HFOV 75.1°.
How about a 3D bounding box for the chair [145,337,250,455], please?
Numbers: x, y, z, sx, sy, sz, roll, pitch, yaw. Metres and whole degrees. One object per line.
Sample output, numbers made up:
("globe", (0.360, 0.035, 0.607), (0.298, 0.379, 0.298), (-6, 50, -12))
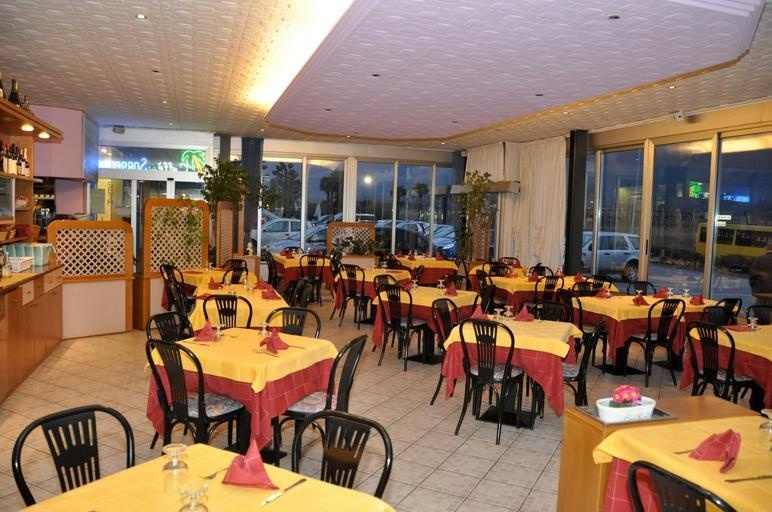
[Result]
("chair", (-1.602, 1.219, 4.365), (0.655, 1.112, 0.691), (5, 7, 37))

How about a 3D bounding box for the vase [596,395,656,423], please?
("vase", (1.614, 1.042, 3.464), (0.339, 0.086, 0.173), (0, -6, -5))

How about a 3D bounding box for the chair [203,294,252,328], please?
("chair", (-1.904, 0.662, 6.062), (0.389, 0.554, 0.374), (1, 19, -4))

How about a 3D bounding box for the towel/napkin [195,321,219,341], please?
("towel/napkin", (-1.688, 0.709, 4.774), (0.178, 0.065, 0.218), (2, 7, -14))

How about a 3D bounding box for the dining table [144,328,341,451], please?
("dining table", (-1.211, 1.010, 4.351), (1.302, 0.647, 1.312), (3, 4, 30))

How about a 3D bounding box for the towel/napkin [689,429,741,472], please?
("towel/napkin", (1.970, 1.136, 2.982), (0.249, 0.079, 0.241), (-4, -7, -44))

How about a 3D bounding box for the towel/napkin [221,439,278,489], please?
("towel/napkin", (-0.731, 1.135, 2.795), (0.320, 0.183, 0.196), (7, -4, 21))

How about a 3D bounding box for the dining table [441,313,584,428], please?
("dining table", (1.164, 1.172, 5.602), (1.692, 0.660, 1.465), (6, -9, 20))

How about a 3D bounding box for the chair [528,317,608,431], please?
("chair", (1.996, 1.303, 5.593), (0.779, 0.952, 0.604), (-2, -3, 13))

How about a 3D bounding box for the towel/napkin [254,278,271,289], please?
("towel/napkin", (-1.763, 0.393, 7.167), (0.180, 0.078, 0.215), (-1, 3, -11))
